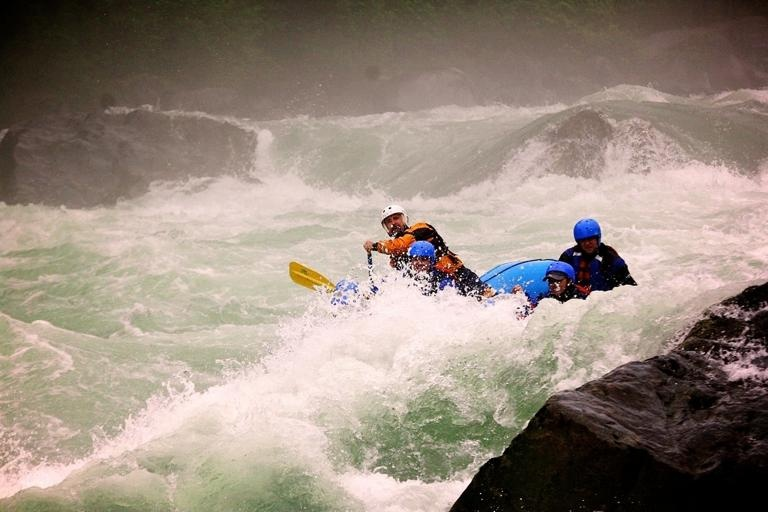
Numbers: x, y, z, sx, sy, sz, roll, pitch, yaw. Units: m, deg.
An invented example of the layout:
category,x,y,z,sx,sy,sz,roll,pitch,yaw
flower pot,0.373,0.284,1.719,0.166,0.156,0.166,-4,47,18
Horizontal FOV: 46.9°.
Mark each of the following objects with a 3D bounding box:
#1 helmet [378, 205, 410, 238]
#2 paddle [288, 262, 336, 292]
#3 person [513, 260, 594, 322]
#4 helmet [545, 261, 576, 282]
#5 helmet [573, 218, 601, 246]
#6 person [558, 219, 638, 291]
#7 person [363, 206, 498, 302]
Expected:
category,x,y,z,sx,sy,sz,roll,pitch,yaw
helmet,0.226,-0.638,15.350,0.459,0.511,0.583,-17,-2,26
paddle,-1.326,0.396,15.622,1.117,0.338,0.259,23,6,23
person,2.645,0.607,14.072,1.262,0.573,1.228,-26,30,-34
helmet,2.761,0.242,13.813,0.424,0.166,0.293,14,-15,-28
helmet,3.308,-0.382,14.448,0.378,0.348,0.454,-11,-29,26
person,3.639,0.019,14.851,1.234,1.542,0.684,-11,-1,34
person,0.876,0.007,15.826,2.229,0.634,0.711,32,47,13
